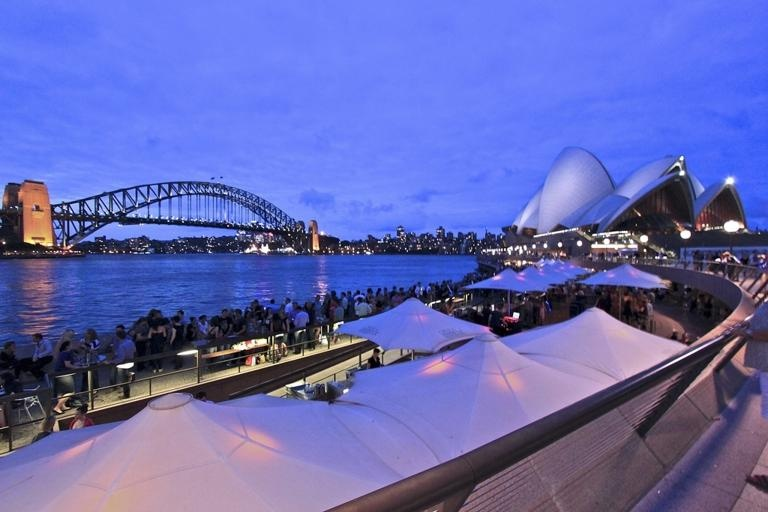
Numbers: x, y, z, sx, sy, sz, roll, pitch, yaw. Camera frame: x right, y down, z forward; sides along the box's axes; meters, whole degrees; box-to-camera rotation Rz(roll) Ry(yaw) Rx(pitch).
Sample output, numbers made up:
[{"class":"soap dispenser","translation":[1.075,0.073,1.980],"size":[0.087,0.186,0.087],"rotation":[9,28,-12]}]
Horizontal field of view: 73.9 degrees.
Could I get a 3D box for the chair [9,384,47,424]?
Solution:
[{"class":"chair","translation":[-6.110,2.551,8.885],"size":[0.499,0.720,0.555],"rotation":[2,-4,-5]}]
